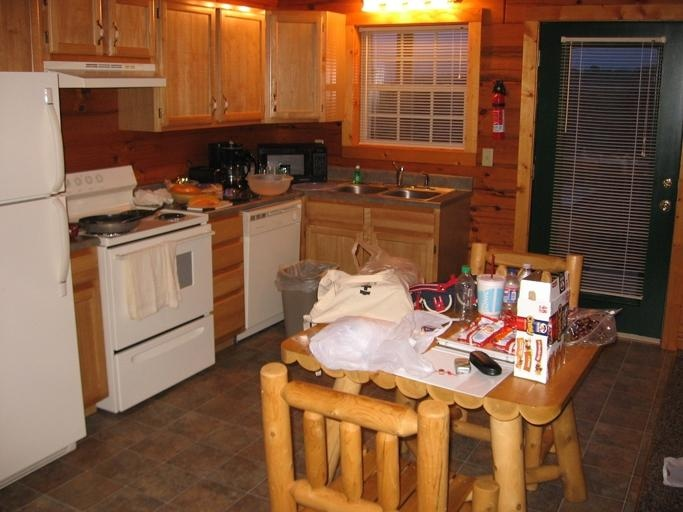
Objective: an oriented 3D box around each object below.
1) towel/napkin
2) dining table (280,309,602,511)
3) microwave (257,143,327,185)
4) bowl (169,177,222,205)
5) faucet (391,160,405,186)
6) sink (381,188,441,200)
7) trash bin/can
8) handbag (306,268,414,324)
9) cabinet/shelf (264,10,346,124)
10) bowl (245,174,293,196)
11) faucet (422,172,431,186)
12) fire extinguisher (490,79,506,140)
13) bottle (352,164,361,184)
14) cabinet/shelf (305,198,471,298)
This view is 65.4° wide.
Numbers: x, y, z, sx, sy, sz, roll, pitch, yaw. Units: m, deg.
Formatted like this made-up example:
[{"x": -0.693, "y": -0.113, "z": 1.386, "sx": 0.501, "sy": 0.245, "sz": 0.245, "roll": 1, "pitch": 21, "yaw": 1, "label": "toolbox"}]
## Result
[{"x": -1.170, "y": 0.137, "z": 3.243, "sx": 0.084, "sy": 0.388, "sz": 0.412, "roll": 4, "pitch": 17, "yaw": 35, "label": "towel/napkin"}, {"x": 0.408, "y": 0.753, "z": 2.307, "sx": 1.074, "sy": 0.677, "sz": 0.983, "roll": 6, "pitch": 13, "yaw": 35, "label": "dining table"}, {"x": -0.433, "y": -0.885, "z": 4.911, "sx": 0.605, "sy": 0.376, "sz": 0.376, "roll": -2, "pitch": 10, "yaw": -9, "label": "microwave"}, {"x": -1.163, "y": -0.507, "z": 4.137, "sx": 0.291, "sy": 0.122, "sz": 0.292, "roll": -2, "pitch": 8, "yaw": 0, "label": "bowl"}, {"x": 0.529, "y": -0.767, "z": 4.938, "sx": 0.111, "sy": 0.203, "sz": 0.222, "roll": 0, "pitch": 18, "yaw": -2, "label": "faucet"}, {"x": 0.623, "y": -0.551, "z": 4.723, "sx": 0.481, "sy": 0.079, "sz": 0.168, "roll": 5, "pitch": 18, "yaw": 13, "label": "sink"}, {"x": -0.316, "y": 0.249, "z": 4.335, "sx": 0.530, "sy": 0.654, "sz": 0.602, "roll": 4, "pitch": 14, "yaw": 19, "label": "trash bin/can"}, {"x": 0.096, "y": 0.182, "z": 2.377, "sx": 0.323, "sy": 0.130, "sz": 0.380, "roll": 0, "pitch": 12, "yaw": 4, "label": "handbag"}, {"x": -0.352, "y": -1.677, "z": 4.644, "sx": 0.922, "sy": 0.863, "sz": 0.613, "roll": -10, "pitch": 16, "yaw": -42, "label": "cabinet/shelf"}, {"x": -0.627, "y": -0.619, "z": 4.597, "sx": 0.364, "sy": 0.147, "sz": 0.402, "roll": -2, "pitch": 18, "yaw": -9, "label": "bowl"}, {"x": 0.763, "y": -0.685, "z": 4.819, "sx": 0.069, "sy": 0.115, "sz": 0.158, "roll": 2, "pitch": 18, "yaw": 3, "label": "faucet"}, {"x": 1.305, "y": -1.229, "z": 4.433, "sx": 0.133, "sy": 0.461, "sz": 0.127, "roll": 6, "pitch": 18, "yaw": 16, "label": "fire extinguisher"}, {"x": 0.143, "y": -0.794, "z": 5.100, "sx": 0.091, "sy": 0.173, "sz": 0.209, "roll": 1, "pitch": 18, "yaw": 1, "label": "bottle"}, {"x": 0.371, "y": -0.269, "z": 4.636, "sx": 1.360, "sy": 1.249, "sz": 0.736, "roll": 5, "pitch": 10, "yaw": 24, "label": "cabinet/shelf"}]
